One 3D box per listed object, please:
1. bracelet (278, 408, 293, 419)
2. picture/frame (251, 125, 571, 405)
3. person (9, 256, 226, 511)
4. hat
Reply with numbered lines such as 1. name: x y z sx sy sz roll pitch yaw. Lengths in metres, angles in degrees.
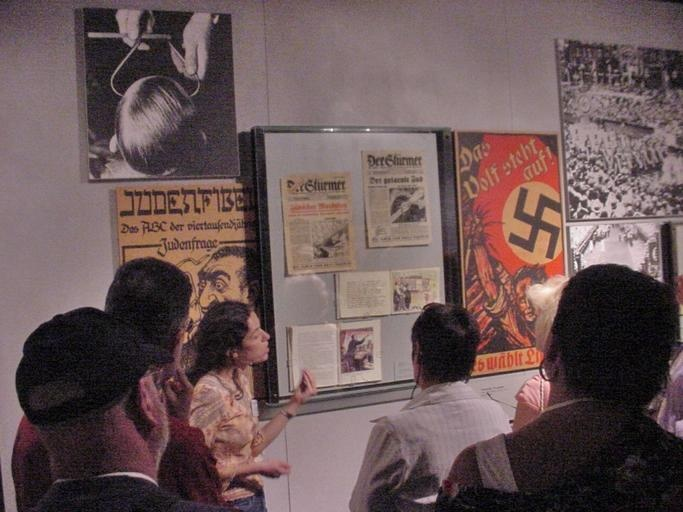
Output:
1. bracelet: -0.198 0.570 2.348 0.034 0.012 0.034 16 -13 45
2. picture/frame: 0.217 0.011 2.354 1.084 0.765 0.076 -2 -1 -24
3. person: -0.721 0.409 2.006 0.742 0.774 0.414 5 12 12
4. hat: -0.765 0.295 2.074 0.570 0.276 0.378 -22 4 -28
